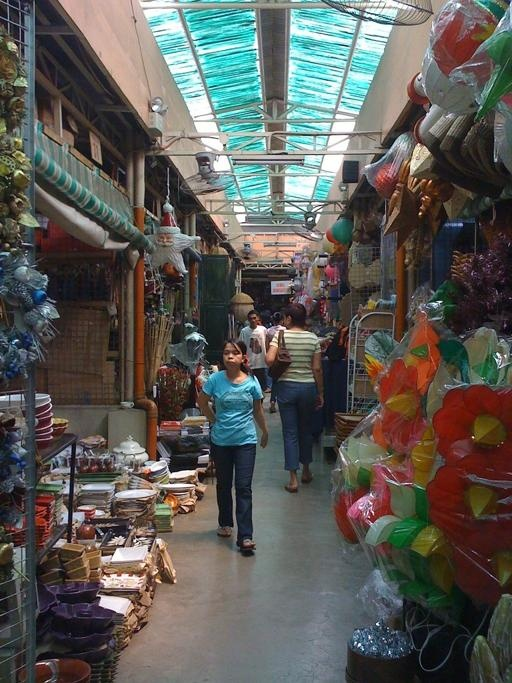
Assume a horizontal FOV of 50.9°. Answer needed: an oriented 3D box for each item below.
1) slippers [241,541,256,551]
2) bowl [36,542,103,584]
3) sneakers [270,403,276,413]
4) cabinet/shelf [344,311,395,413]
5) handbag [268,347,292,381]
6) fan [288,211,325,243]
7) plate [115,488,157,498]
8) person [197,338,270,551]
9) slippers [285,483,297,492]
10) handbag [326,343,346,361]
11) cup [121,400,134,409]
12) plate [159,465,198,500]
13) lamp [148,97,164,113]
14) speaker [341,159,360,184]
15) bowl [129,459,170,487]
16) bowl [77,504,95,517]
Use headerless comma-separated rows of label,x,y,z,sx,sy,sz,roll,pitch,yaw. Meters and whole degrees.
slippers,-0.048,1.336,3.517,0.047,0.055,0.124,-1,-11,-10
bowl,-0.870,1.051,2.530,0.313,0.104,0.234,2,-1,7
sneakers,0.383,1.359,10.868,0.084,0.165,0.161,3,-28,5
cabinet/shelf,1.101,0.230,5.214,0.422,1.032,1.428,1,-2,10
handbag,0.240,0.210,5.128,0.088,0.234,0.239,6,-27,-3
fan,1.507,-3.306,14.705,1.093,0.545,1.514,0,-2,1
plate,-0.837,1.071,3.748,0.276,0.028,0.183,2,-2,-14
person,-0.165,0.707,3.803,0.461,1.411,0.489,1,-2,15
slippers,0.337,1.391,5.097,0.120,0.063,0.131,1,-2,1
handbag,0.952,0.130,6.364,0.185,0.075,0.213,-4,20,-2
cup,-1.320,0.648,5.499,0.081,0.051,0.096,-2,-14,6
plate,-0.693,1.259,4.756,0.321,0.128,0.429,0,9,-15
lamp,-1.063,-2.521,5.770,0.164,0.140,0.192,0,7,0
speaker,1.387,-2.500,7.836,0.253,0.412,0.336,1,-2,9
bowl,-0.914,1.123,4.567,0.250,0.126,0.266,-3,2,0
bowl,-1.129,1.126,3.585,0.088,0.054,0.086,1,1,0
